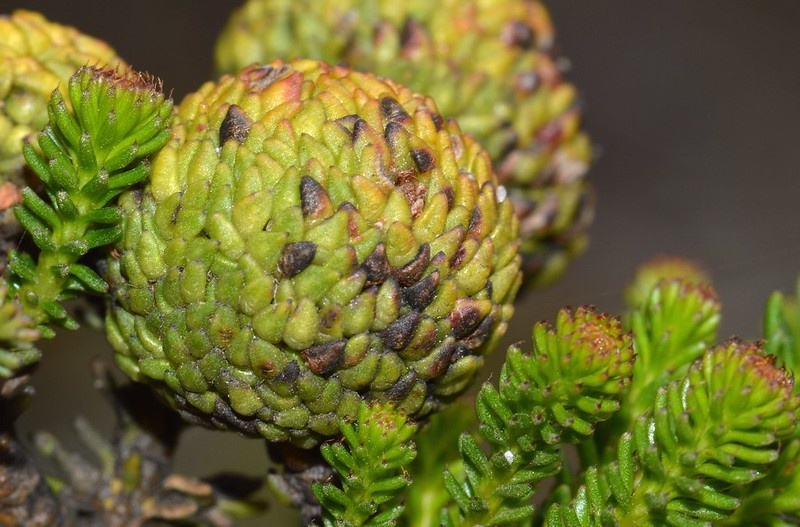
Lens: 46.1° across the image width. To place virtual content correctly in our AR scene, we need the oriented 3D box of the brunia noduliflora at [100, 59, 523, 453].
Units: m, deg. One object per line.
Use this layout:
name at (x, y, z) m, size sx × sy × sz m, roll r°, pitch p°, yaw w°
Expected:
brunia noduliflora at (-0.061, 0.027, 1.409) m, size 0.520 × 0.479 × 0.469 m, roll 1°, pitch -19°, yaw 9°
